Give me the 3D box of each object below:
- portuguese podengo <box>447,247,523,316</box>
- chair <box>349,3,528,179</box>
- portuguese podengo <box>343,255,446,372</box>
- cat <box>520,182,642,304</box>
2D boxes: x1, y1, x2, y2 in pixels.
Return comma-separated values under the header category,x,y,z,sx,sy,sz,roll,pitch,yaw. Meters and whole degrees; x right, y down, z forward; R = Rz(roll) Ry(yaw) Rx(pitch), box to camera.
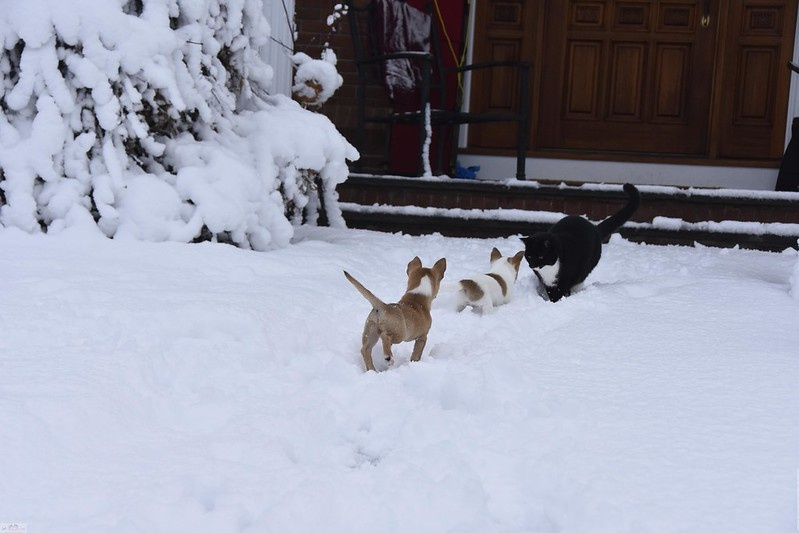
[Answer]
category,x,y,z,sx,sy,sz,roll,pitch,yaw
portuguese podengo,0.550,0.176,6.548,0.208,0.470,0.779,2,8,37
chair,0.270,-1.348,8.916,1.402,1.470,1.649,2,20,-5
portuguese podengo,0.006,0.277,5.888,0.237,0.570,0.836,10,13,32
cat,1.078,-0.071,6.847,0.266,0.604,0.956,15,21,31
